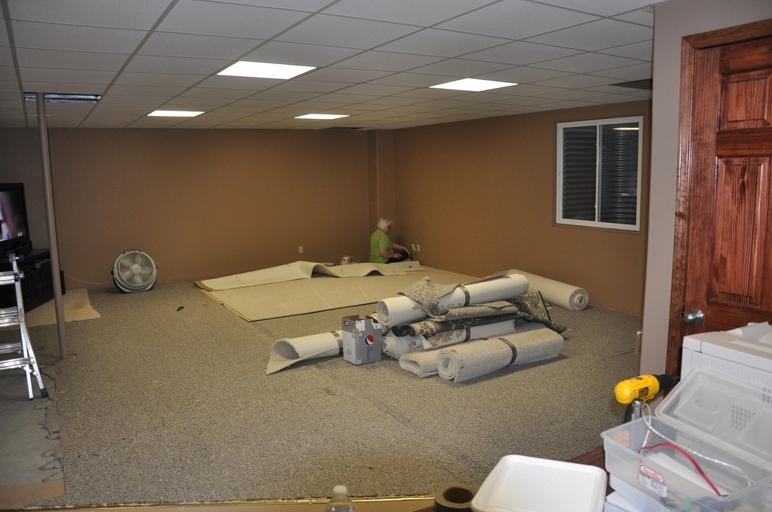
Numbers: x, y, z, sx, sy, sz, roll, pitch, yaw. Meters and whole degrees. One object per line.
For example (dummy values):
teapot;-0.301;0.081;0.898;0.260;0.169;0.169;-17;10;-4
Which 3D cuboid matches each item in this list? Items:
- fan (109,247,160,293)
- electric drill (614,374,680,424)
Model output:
fan;-4.660;0.234;8.552;0.546;0.707;0.908;12;14;40
electric drill;1.325;0.690;2.349;0.375;0.249;0.099;-16;18;-17
